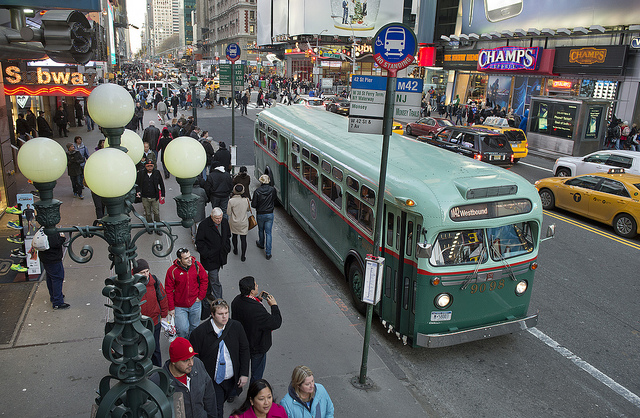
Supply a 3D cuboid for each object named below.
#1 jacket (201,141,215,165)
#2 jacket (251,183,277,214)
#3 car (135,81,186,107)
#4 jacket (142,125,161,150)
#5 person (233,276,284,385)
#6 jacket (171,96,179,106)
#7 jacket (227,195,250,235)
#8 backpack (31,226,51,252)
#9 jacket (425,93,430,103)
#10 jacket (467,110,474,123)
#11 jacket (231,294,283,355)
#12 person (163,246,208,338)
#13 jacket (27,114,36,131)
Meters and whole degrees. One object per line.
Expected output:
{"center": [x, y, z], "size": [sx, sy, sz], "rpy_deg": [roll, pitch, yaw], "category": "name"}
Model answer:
{"center": [-4.409, -2.237, 17.280], "size": [0.308, 1.300, 1.778], "rpy_deg": [-4, 20, -12], "category": "jacket"}
{"center": [-1.640, -0.253, 13.108], "size": [0.814, 0.956, 0.677], "rpy_deg": [-5, -6, -10], "category": "jacket"}
{"center": [-16.997, -12.803, 46.825], "size": [4.803, 2.758, 2.574], "rpy_deg": [-1, 15, -1], "category": "car"}
{"center": [-7.919, -3.441, 20.588], "size": [0.664, 1.330, 1.011], "rpy_deg": [-6, 20, -20], "category": "jacket"}
{"center": [-1.158, 2.414, 8.263], "size": [0.710, 2.372, 0.951], "rpy_deg": [-26, 49, -35], "category": "person"}
{"center": [-12.263, -9.286, 36.895], "size": [0.570, 0.779, 1.168], "rpy_deg": [-7, 21, -21], "category": "jacket"}
{"center": [-2.426, 0.290, 12.950], "size": [0.660, 2.065, 0.630], "rpy_deg": [2, 21, -6], "category": "jacket"}
{"center": [-6.104, 0.687, 9.508], "size": [0.507, 0.828, 0.274], "rpy_deg": [-9, -9, 31], "category": "backpack"}
{"center": [13.438, -14.251, 54.225], "size": [0.564, 0.881, 1.869], "rpy_deg": [5, 20, 13], "category": "jacket"}
{"center": [12.826, -8.013, 36.925], "size": [0.504, 0.912, 0.319], "rpy_deg": [-2, 7, -43], "category": "jacket"}
{"center": [-1.186, 2.128, 8.074], "size": [0.938, 1.147, 0.626], "rpy_deg": [17, 20, 37], "category": "jacket"}
{"center": [-2.737, 1.923, 9.105], "size": [0.915, 2.408, 0.589], "rpy_deg": [-8, 20, -31], "category": "person"}
{"center": [-15.074, -4.600, 22.724], "size": [0.262, 0.772, 0.965], "rpy_deg": [-9, 21, -27], "category": "jacket"}
